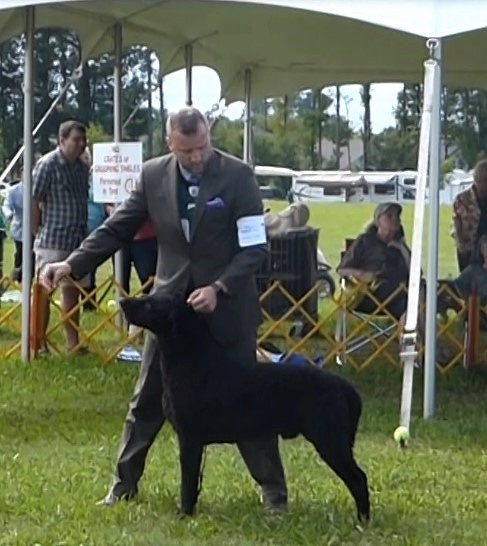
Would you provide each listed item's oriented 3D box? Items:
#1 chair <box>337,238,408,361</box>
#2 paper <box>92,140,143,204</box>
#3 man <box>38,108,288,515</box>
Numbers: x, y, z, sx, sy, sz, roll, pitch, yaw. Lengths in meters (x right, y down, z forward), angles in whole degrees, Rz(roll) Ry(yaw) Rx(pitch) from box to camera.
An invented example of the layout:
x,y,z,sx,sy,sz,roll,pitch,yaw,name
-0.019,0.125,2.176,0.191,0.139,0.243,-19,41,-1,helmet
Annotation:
x,y,z,sx,sy,sz,roll,pitch,yaw,name
0.869,0.036,8.155,0.459,0.737,0.557,0,-27,9,chair
-0.851,-0.679,8.094,0.333,0.443,0.016,-2,28,-13,paper
-0.361,0.243,5.702,1.037,2.210,0.900,1,27,3,man
